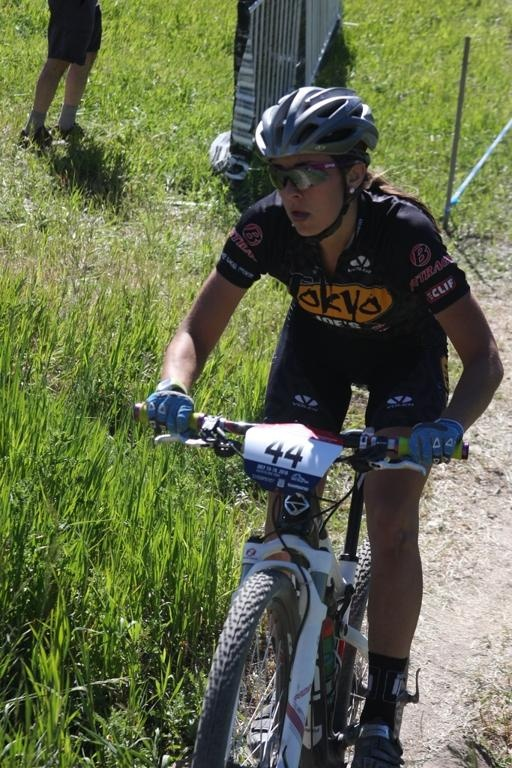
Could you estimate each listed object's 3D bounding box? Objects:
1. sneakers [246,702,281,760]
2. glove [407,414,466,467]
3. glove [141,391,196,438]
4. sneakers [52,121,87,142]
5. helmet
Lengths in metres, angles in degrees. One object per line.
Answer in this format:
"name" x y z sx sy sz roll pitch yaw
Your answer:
"sneakers" 0.026 0.857 1.765 0.041 0.146 0.082 17 -6 -43
"glove" 0.420 0.139 1.677 0.117 0.098 0.057 -4 -31 -1
"glove" -0.203 0.064 1.738 0.087 0.049 0.116 10 -25 42
"sneakers" -1.788 -2.419 6.982 0.130 0.165 0.371 9 20 15
"helmet" 0.183 -0.724 2.073 0.305 0.216 0.425 8 12 36
